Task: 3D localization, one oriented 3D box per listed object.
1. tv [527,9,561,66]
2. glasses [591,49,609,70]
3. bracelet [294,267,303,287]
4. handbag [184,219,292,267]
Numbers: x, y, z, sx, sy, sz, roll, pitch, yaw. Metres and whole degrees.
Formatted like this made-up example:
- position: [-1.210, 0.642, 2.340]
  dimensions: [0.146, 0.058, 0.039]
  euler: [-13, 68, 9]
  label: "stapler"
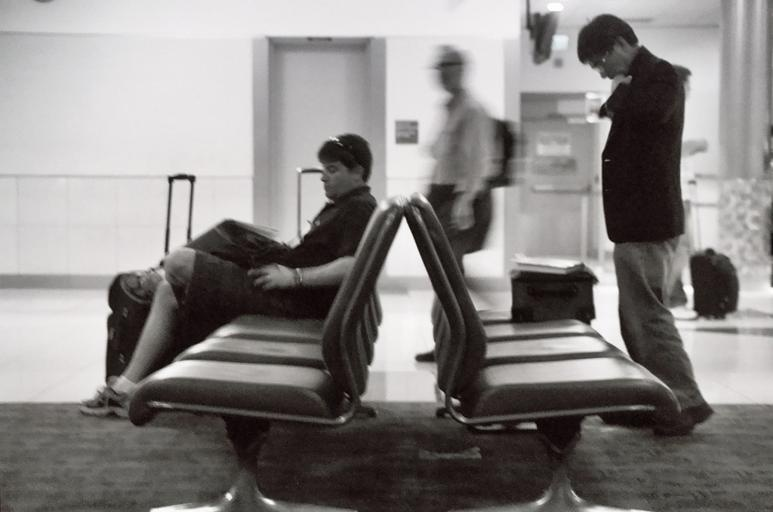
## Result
- position: [0.621, -0.875, 2.845]
  dimensions: [0.182, 0.257, 0.059]
  euler: [7, -12, -12]
  label: "tv"
- position: [0.834, -0.777, 2.828]
  dimensions: [0.072, 0.076, 0.053]
  euler: [-5, 11, -5]
  label: "glasses"
- position: [-0.353, 0.085, 2.860]
  dimensions: [0.042, 0.058, 0.015]
  euler: [5, 2, 16]
  label: "bracelet"
- position: [-0.572, -0.059, 2.843]
  dimensions: [0.244, 0.065, 0.241]
  euler: [13, -25, -24]
  label: "handbag"
